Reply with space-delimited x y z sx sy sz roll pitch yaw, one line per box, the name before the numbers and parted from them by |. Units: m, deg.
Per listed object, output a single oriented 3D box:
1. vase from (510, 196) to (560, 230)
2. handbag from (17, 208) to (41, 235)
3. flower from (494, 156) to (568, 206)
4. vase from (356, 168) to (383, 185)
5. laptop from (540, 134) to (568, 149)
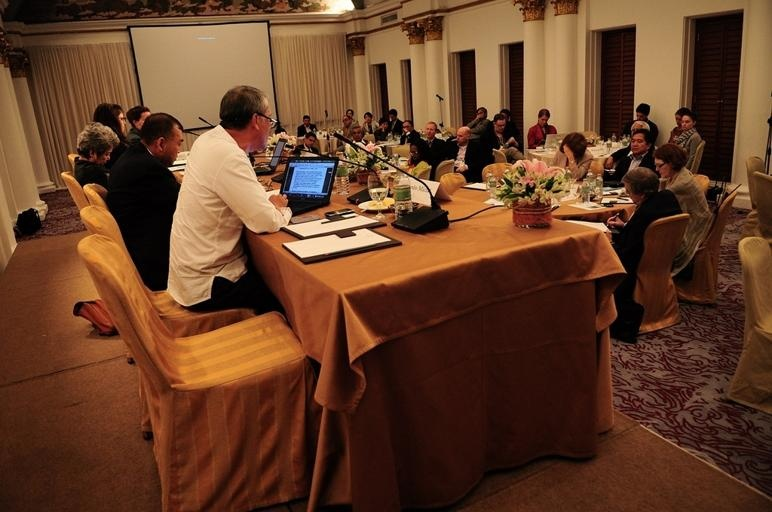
vase | 0.815 -0.248 2.992 0.179 0.130 0.182 -3 8 -9
handbag | -5.653 -0.521 8.234 0.314 0.484 0.477 -6 -13 -38
flower | 0.902 -0.436 2.978 0.290 0.184 0.318 1 12 -15
vase | -0.135 -0.652 4.339 0.182 0.124 0.200 -7 14 -23
laptop | 2.696 -1.836 8.310 0.571 0.138 0.572 -6 20 -6
